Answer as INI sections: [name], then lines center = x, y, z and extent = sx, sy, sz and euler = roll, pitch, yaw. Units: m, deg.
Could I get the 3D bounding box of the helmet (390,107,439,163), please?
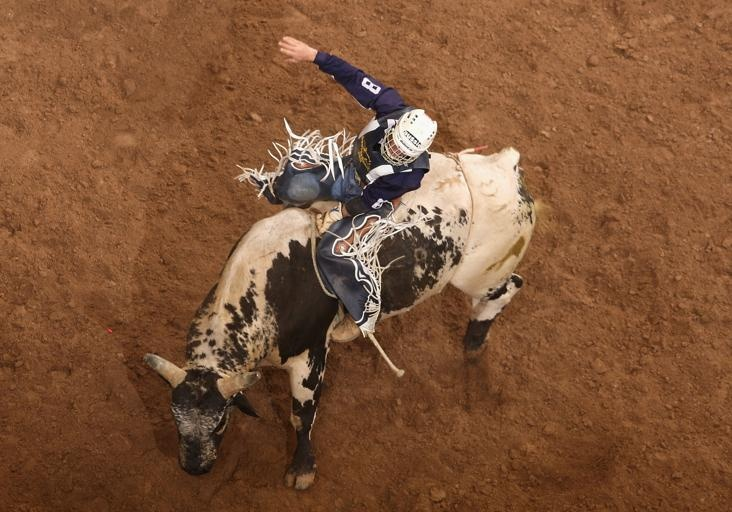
[helmet]
center = 0.556, -1.403, 13.659
extent = 0.597, 0.530, 0.458
euler = -42, 95, 16
